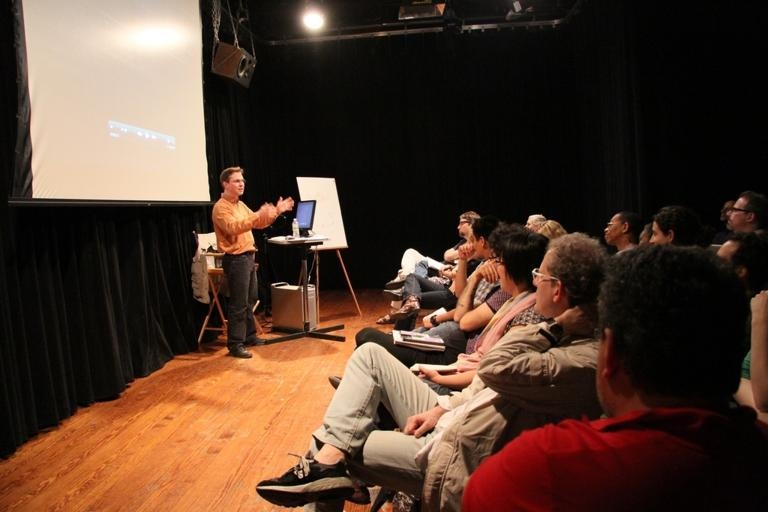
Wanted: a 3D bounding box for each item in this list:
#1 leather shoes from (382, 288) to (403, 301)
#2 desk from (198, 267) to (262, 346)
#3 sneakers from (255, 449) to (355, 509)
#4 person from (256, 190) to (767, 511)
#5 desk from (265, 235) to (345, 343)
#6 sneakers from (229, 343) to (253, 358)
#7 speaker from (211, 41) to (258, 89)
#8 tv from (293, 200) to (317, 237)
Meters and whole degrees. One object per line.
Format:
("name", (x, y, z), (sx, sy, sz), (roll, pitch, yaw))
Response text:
("leather shoes", (0.080, 0.461, 5.735), (0.294, 0.101, 0.119), (4, 27, 46))
("desk", (-1.946, 0.507, 5.702), (0.440, 0.791, 0.789), (2, 6, -20))
("sneakers", (-0.344, 1.080, 2.448), (0.516, 0.213, 0.249), (-3, 41, -3))
("person", (0.313, 0.527, 2.491), (1.388, 1.443, 0.985), (4, 14, 16))
("desk", (-0.902, 0.328, 5.610), (0.965, 1.168, 0.954), (-2, 0, 12))
("sneakers", (-1.437, 0.949, 5.007), (0.276, 0.126, 0.113), (4, 1, 15))
("speaker", (-1.803, -2.292, 6.032), (0.301, 0.371, 0.551), (19, 8, 1))
("tv", (-0.940, -0.435, 6.000), (0.161, 0.514, 0.464), (4, -8, -41))
